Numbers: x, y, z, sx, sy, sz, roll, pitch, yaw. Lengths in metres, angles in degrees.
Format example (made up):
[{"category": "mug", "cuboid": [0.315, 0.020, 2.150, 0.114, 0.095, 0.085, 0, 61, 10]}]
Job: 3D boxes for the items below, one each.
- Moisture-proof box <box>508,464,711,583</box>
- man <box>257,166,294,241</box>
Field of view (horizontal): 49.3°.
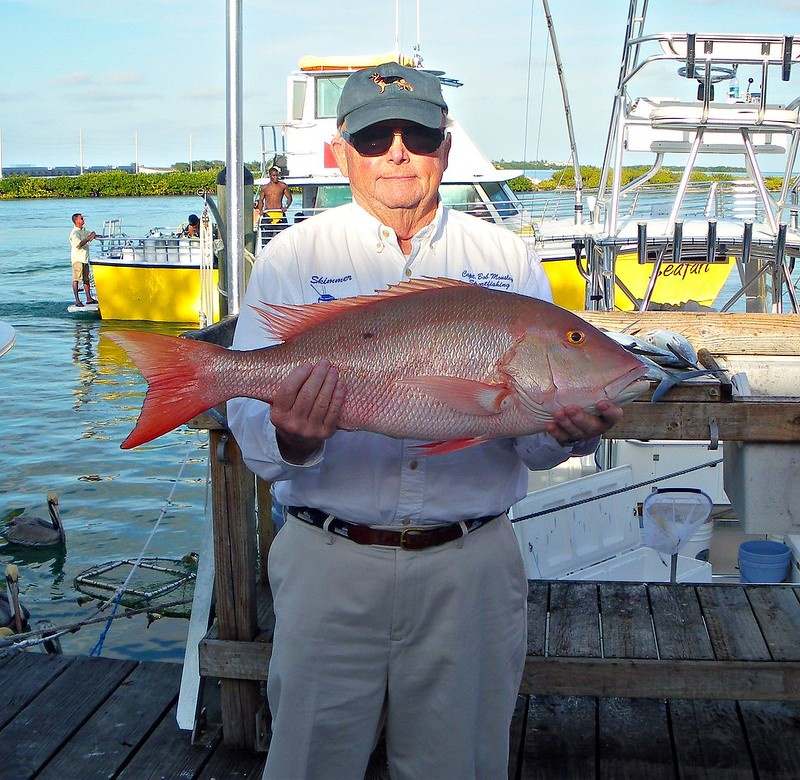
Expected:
[{"category": "Moisture-proof box", "cuboid": [1.047, 0.688, 4.339, 0.884, 0.707, 0.470, -14, 17, -24]}, {"category": "man", "cuboid": [-2.329, -3.211, 16.228, 0.718, 1.772, 0.590, -2, 12, -4]}]
